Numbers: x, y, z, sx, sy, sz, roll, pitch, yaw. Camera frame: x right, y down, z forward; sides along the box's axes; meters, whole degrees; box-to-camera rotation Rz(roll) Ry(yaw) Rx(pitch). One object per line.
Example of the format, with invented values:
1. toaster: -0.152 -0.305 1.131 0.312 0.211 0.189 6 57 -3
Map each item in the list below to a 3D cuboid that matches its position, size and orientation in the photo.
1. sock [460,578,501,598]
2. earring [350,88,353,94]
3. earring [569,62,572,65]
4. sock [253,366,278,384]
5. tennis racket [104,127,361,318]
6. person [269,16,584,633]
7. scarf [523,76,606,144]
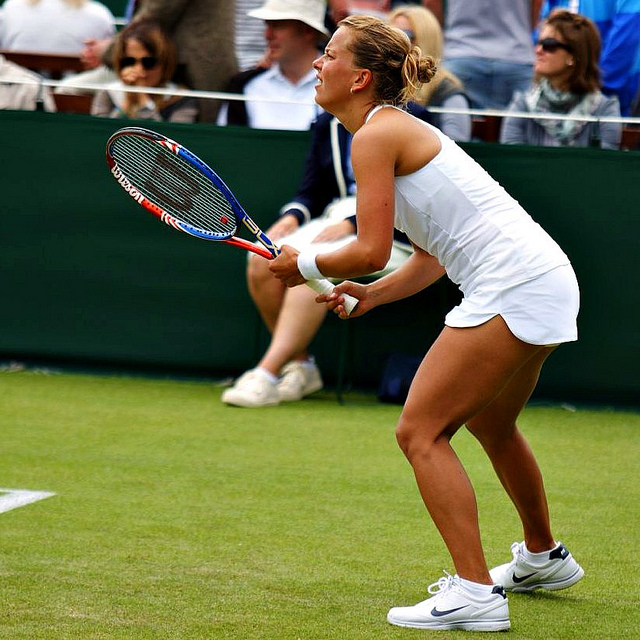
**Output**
1. sock: 0.389 0.647 2.309 0.102 0.034 0.032 15 -9 -2
2. earring: 0.079 -0.582 2.396 0.010 0.011 0.004 -1 5 16
3. earring: 1.245 -1.268 4.683 0.013 0.009 0.004 6 10 11
4. sock: -0.251 0.244 4.375 0.098 0.033 0.068 27 3 2
5. tennis racket: -0.378 -0.537 4.423 0.175 0.481 2.114 -31 -13 21
6. person: 0.499 -0.012 2.637 1.068 1.529 0.775 -3 13 -35
7. scarf: 1.226 -1.046 4.740 0.390 0.335 0.334 6 10 10
